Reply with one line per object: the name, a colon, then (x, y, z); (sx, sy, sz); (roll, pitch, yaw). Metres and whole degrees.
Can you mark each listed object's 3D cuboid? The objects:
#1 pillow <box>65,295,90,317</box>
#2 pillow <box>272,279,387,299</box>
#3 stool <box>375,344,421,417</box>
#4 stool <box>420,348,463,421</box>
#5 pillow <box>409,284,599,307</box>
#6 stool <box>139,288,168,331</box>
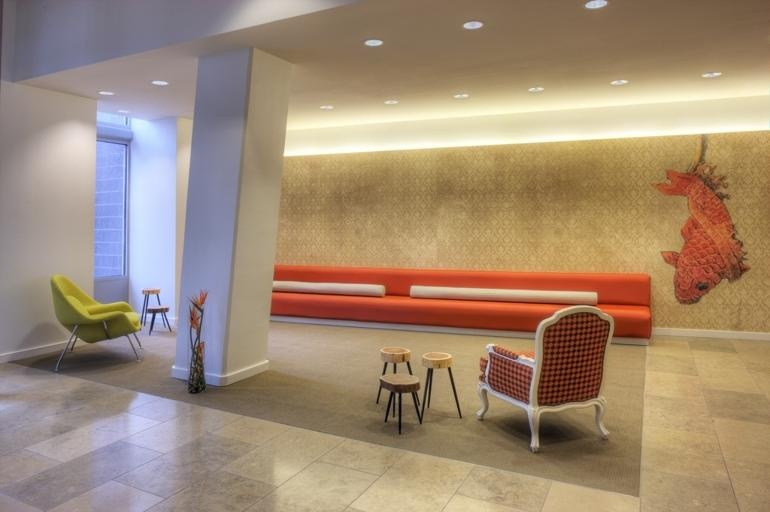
pillow: (-4.271, 0.688, 6.817); (0.206, 0.265, 0.355); (-13, 18, -42)
pillow: (-1.018, 0.643, 9.557); (2.140, 0.270, 0.367); (1, 10, 8)
stool: (0.157, 1.400, 5.707); (0.410, 0.566, 0.359); (8, -5, -8)
stool: (0.661, 1.494, 5.671); (0.520, 0.592, 0.434); (3, -10, -7)
pillow: (2.223, 0.690, 8.659); (2.744, 0.308, 0.301); (0, 19, 16)
stool: (-4.267, 0.984, 9.152); (0.592, 0.743, 0.535); (-5, 9, -5)
